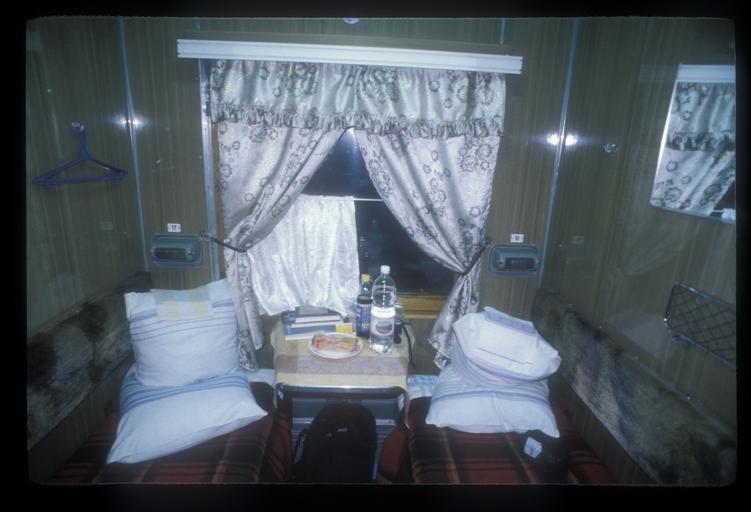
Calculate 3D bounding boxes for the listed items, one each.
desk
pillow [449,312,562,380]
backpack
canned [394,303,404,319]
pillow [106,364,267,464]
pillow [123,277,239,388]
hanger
[{"bbox_3d":[-0.205,0.571,2.616,0.774,0.183,0.390,1,9,2],"label":"desk"},{"bbox_3d":[0.693,0.477,2.601,0.364,0.154,0.414,6,26,-8],"label":"pillow"},{"bbox_3d":[-0.213,1.008,2.553,0.444,0.437,0.104,7,-4,1],"label":"backpack"},{"bbox_3d":[0.152,0.341,2.951,0.066,0.101,0.066,-6,13,-24],"label":"canned"},{"bbox_3d":[-0.941,0.773,2.299,0.445,0.131,0.440,-11,30,-28],"label":"pillow"},{"bbox_3d":[-1.018,0.424,2.575,0.563,0.536,0.316,-5,18,-18],"label":"pillow"},{"bbox_3d":[-1.570,-0.519,2.513,0.042,0.295,0.393,4,14,19],"label":"hanger"}]
